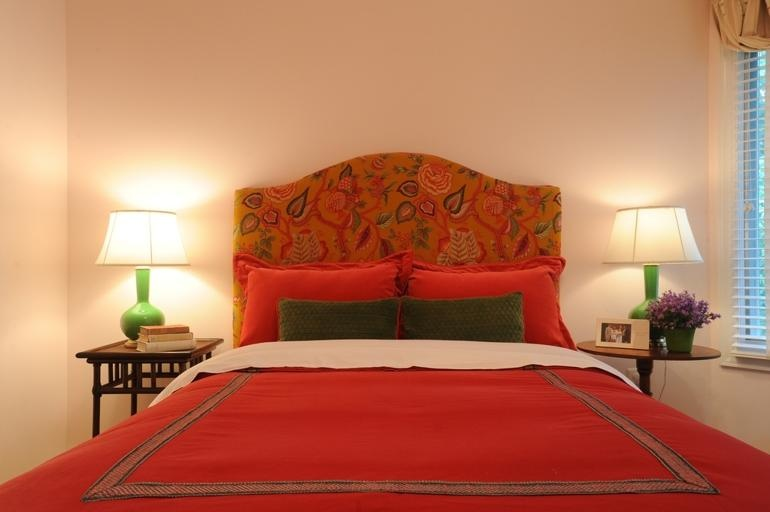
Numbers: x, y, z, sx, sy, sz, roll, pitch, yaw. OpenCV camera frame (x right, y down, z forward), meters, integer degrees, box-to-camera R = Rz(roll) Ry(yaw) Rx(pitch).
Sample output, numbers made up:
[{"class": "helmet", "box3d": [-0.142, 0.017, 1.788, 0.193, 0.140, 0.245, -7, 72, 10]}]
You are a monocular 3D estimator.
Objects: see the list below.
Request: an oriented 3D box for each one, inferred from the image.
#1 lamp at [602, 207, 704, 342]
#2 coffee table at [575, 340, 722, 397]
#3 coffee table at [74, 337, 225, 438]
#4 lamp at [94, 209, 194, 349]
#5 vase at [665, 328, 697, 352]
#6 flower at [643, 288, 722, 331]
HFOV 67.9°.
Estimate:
[{"class": "lamp", "box3d": [1.703, 0.086, 3.701, 0.635, 0.750, 0.614, -3, 0, 4]}, {"class": "coffee table", "box3d": [1.532, 0.591, 3.335, 0.490, 0.298, 0.464, 1, -5, -9]}, {"class": "coffee table", "box3d": [-1.429, 0.674, 3.665, 0.714, 0.721, 0.798, 0, -1, -1]}, {"class": "lamp", "box3d": [-1.562, 0.153, 3.690, 0.651, 0.814, 0.595, 1, 0, -14]}, {"class": "vase", "box3d": [1.713, 0.488, 3.329, 0.185, 0.129, 0.144, 0, -8, 17]}, {"class": "flower", "box3d": [1.724, 0.336, 3.422, 0.316, 0.221, 0.327, -2, -5, -21]}]
